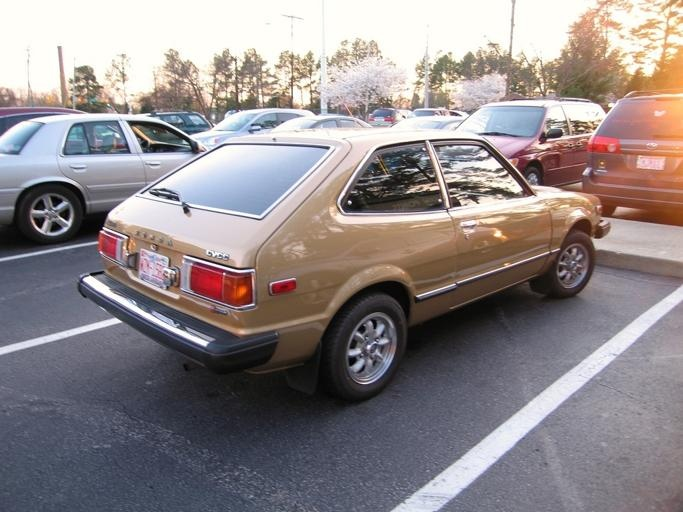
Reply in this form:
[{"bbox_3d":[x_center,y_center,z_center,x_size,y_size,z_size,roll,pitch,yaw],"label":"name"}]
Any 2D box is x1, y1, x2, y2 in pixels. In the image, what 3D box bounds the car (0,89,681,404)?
[{"bbox_3d":[0.557,-0.253,4.452,4.967,1.915,2.079,-12,23,-37],"label":"car"}]
